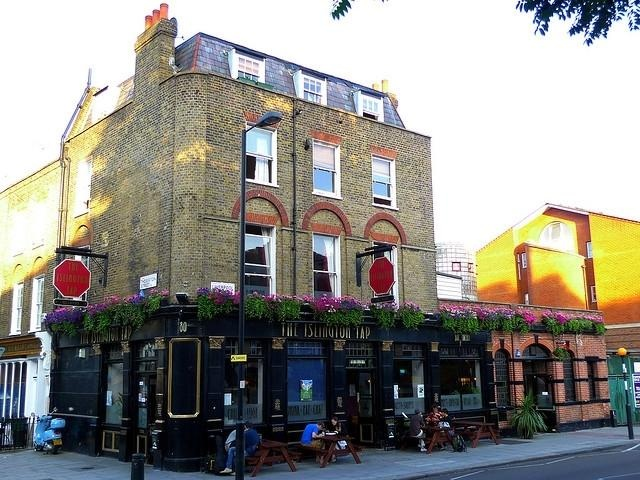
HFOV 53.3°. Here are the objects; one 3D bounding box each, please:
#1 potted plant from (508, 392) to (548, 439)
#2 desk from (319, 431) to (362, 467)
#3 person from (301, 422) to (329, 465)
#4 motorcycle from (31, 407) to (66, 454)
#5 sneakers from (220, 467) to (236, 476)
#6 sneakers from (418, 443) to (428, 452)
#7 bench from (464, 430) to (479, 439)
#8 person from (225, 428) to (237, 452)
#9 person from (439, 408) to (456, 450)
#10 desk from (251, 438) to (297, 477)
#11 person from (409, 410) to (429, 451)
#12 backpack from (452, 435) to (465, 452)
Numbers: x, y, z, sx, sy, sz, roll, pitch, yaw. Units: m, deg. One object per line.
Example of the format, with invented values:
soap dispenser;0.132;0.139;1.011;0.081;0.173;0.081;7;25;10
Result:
potted plant;9.752;8.528;30.835;1.954;2.425;1.869;4;-5;-29
desk;0.698;7.507;22.913;1.198;0.634;1.285;9;-21;-24
person;-0.206;7.478;23.256;0.826;1.261;1.406;2;-3;-26
motorcycle;-11.143;7.942;26.425;1.384;1.852;0.896;-19;-25;40
sneakers;-3.080;7.728;21.184;0.499;0.215;0.169;-1;-19;15
sneakers;4.171;8.481;25.862;0.139;0.278;0.417;-3;-9;30
bench;6.434;8.247;27.005;0.521;0.238;0.816;-11;-14;42
person;-3.015;6.735;21.376;0.334;0.671;1.010;1;-19;-9
person;5.217;7.882;26.266;0.500;1.529;0.545;-12;-57;9
desk;-1.677;7.379;21.766;1.227;0.647;1.304;10;-19;-30
person;3.987;7.826;26.006;0.628;1.646;1.037;-5;-19;8
backpack;5.576;8.268;25.757;0.556;0.658;0.360;16;-30;-35
